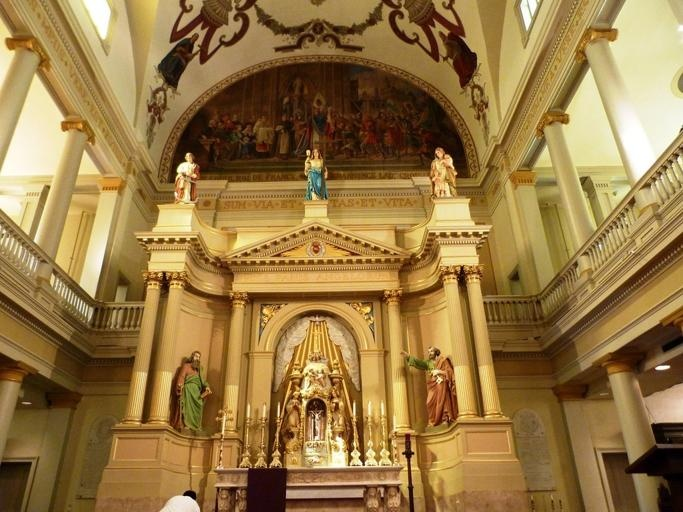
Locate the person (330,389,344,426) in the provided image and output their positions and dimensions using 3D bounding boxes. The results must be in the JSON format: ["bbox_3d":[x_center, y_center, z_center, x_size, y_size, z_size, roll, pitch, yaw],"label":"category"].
[{"bbox_3d":[-0.067,3.434,9.869,0.329,0.849,0.211,4,-31,-6],"label":"person"}]

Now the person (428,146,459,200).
[{"bbox_3d":[2.658,-2.146,11.387,0.597,1.333,0.587,-8,-32,13],"label":"person"}]

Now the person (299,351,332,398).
[{"bbox_3d":[-0.584,2.804,10.195,0.716,1.459,0.225,3,-53,-4],"label":"person"}]

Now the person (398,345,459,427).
[{"bbox_3d":[2.133,2.852,9.829,0.857,1.701,0.718,-5,-32,9],"label":"person"}]

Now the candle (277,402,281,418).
[{"bbox_3d":[-1.458,3.591,10.213,0.064,0.391,0.228,10,-32,-14],"label":"candle"}]
